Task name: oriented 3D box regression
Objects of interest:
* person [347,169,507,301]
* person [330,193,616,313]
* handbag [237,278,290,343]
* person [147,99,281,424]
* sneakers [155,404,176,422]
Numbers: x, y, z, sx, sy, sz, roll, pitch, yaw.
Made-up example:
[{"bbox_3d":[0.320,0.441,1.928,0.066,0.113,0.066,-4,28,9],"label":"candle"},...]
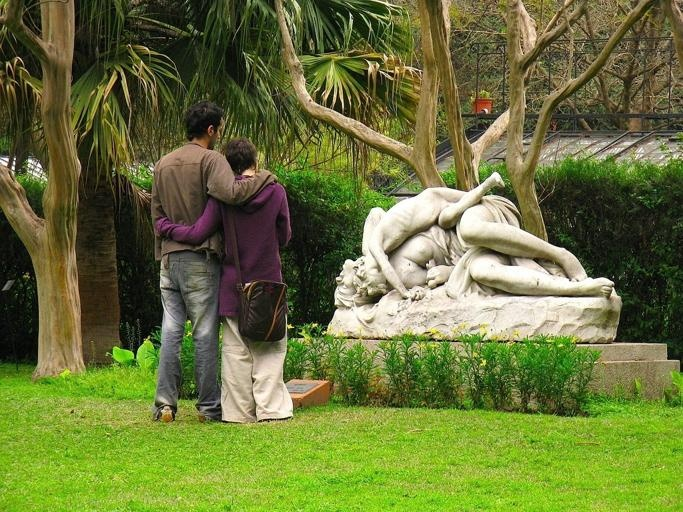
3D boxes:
[{"bbox_3d":[0.880,0.007,12.291,1.567,1.113,0.644,-27,-47,18],"label":"person"},{"bbox_3d":[1.279,-0.140,12.133,2.862,1.343,1.051,-9,14,11],"label":"person"},{"bbox_3d":[-0.708,0.492,10.381,0.480,0.567,0.296,8,-3,-36],"label":"handbag"},{"bbox_3d":[-1.280,0.028,10.378,0.901,2.898,0.439,-1,-2,-3],"label":"person"},{"bbox_3d":[-1.598,1.407,10.270,0.193,0.136,0.154,-1,-2,-7],"label":"sneakers"}]
